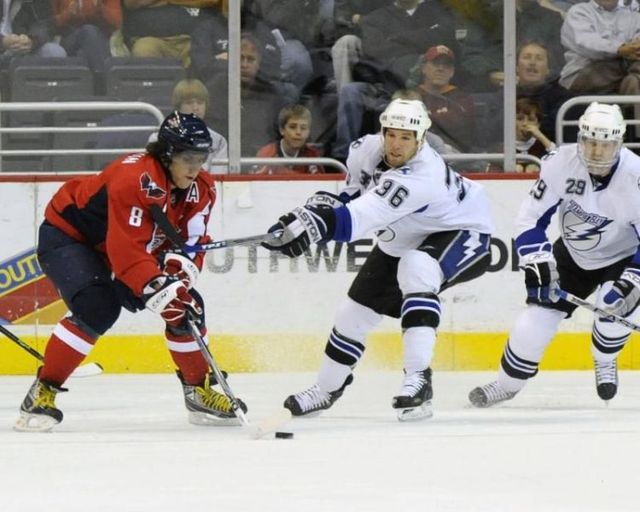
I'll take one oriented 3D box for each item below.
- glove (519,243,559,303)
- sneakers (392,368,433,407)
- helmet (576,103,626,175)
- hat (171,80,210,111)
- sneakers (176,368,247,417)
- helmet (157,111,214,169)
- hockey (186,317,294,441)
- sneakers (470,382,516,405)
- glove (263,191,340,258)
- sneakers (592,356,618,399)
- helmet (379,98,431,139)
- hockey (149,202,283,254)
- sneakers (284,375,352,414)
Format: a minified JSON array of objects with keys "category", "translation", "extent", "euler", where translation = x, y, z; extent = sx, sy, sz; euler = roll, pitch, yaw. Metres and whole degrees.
[{"category":"glove","translation":[1.057,0.102,5.255],"extent":[0.222,0.224,0.105],"euler":[-2,6,10]},{"category":"sneakers","translation":[0.421,0.597,4.918],"extent":[0.125,0.167,0.258],"euler":[8,14,21]},{"category":"helmet","translation":[1.314,-0.535,5.160],"extent":[0.268,0.304,0.315],"euler":[7,45,17]},{"category":"hat","translation":[-0.744,-0.926,6.365],"extent":[0.163,0.155,0.194],"euler":[-2,-7,-7]},{"category":"sneakers","translation":[-0.502,0.641,4.976],"extent":[0.348,0.197,0.108],"euler":[8,-5,-23]},{"category":"helmet","translation":[-0.585,-0.514,4.756],"extent":[0.235,0.202,0.173],"euler":[6,15,15]},{"category":"hockey","translation":[-0.402,0.616,5.366],"extent":[0.111,0.567,0.081],"euler":[-36,-15,7]},{"category":"sneakers","translation":[0.879,0.682,5.391],"extent":[0.289,0.078,0.109],"euler":[-3,-24,-26]},{"category":"glove","translation":[-0.037,-0.112,4.759],"extent":[0.384,0.143,0.214],"euler":[-28,49,-10]},{"category":"sneakers","translation":[1.392,0.606,5.363],"extent":[0.085,0.092,0.249],"euler":[-13,17,16]},{"category":"helmet","translation":[0.384,-0.617,4.995],"extent":[0.234,0.205,0.249],"euler":[14,16,20]},{"category":"hockey","translation":[-0.455,-0.080,4.799],"extent":[0.652,0.199,0.056],"euler":[6,-5,-25]},{"category":"sneakers","translation":[-0.036,0.642,5.076],"extent":[0.351,0.127,0.114],"euler":[-3,20,-42]}]
